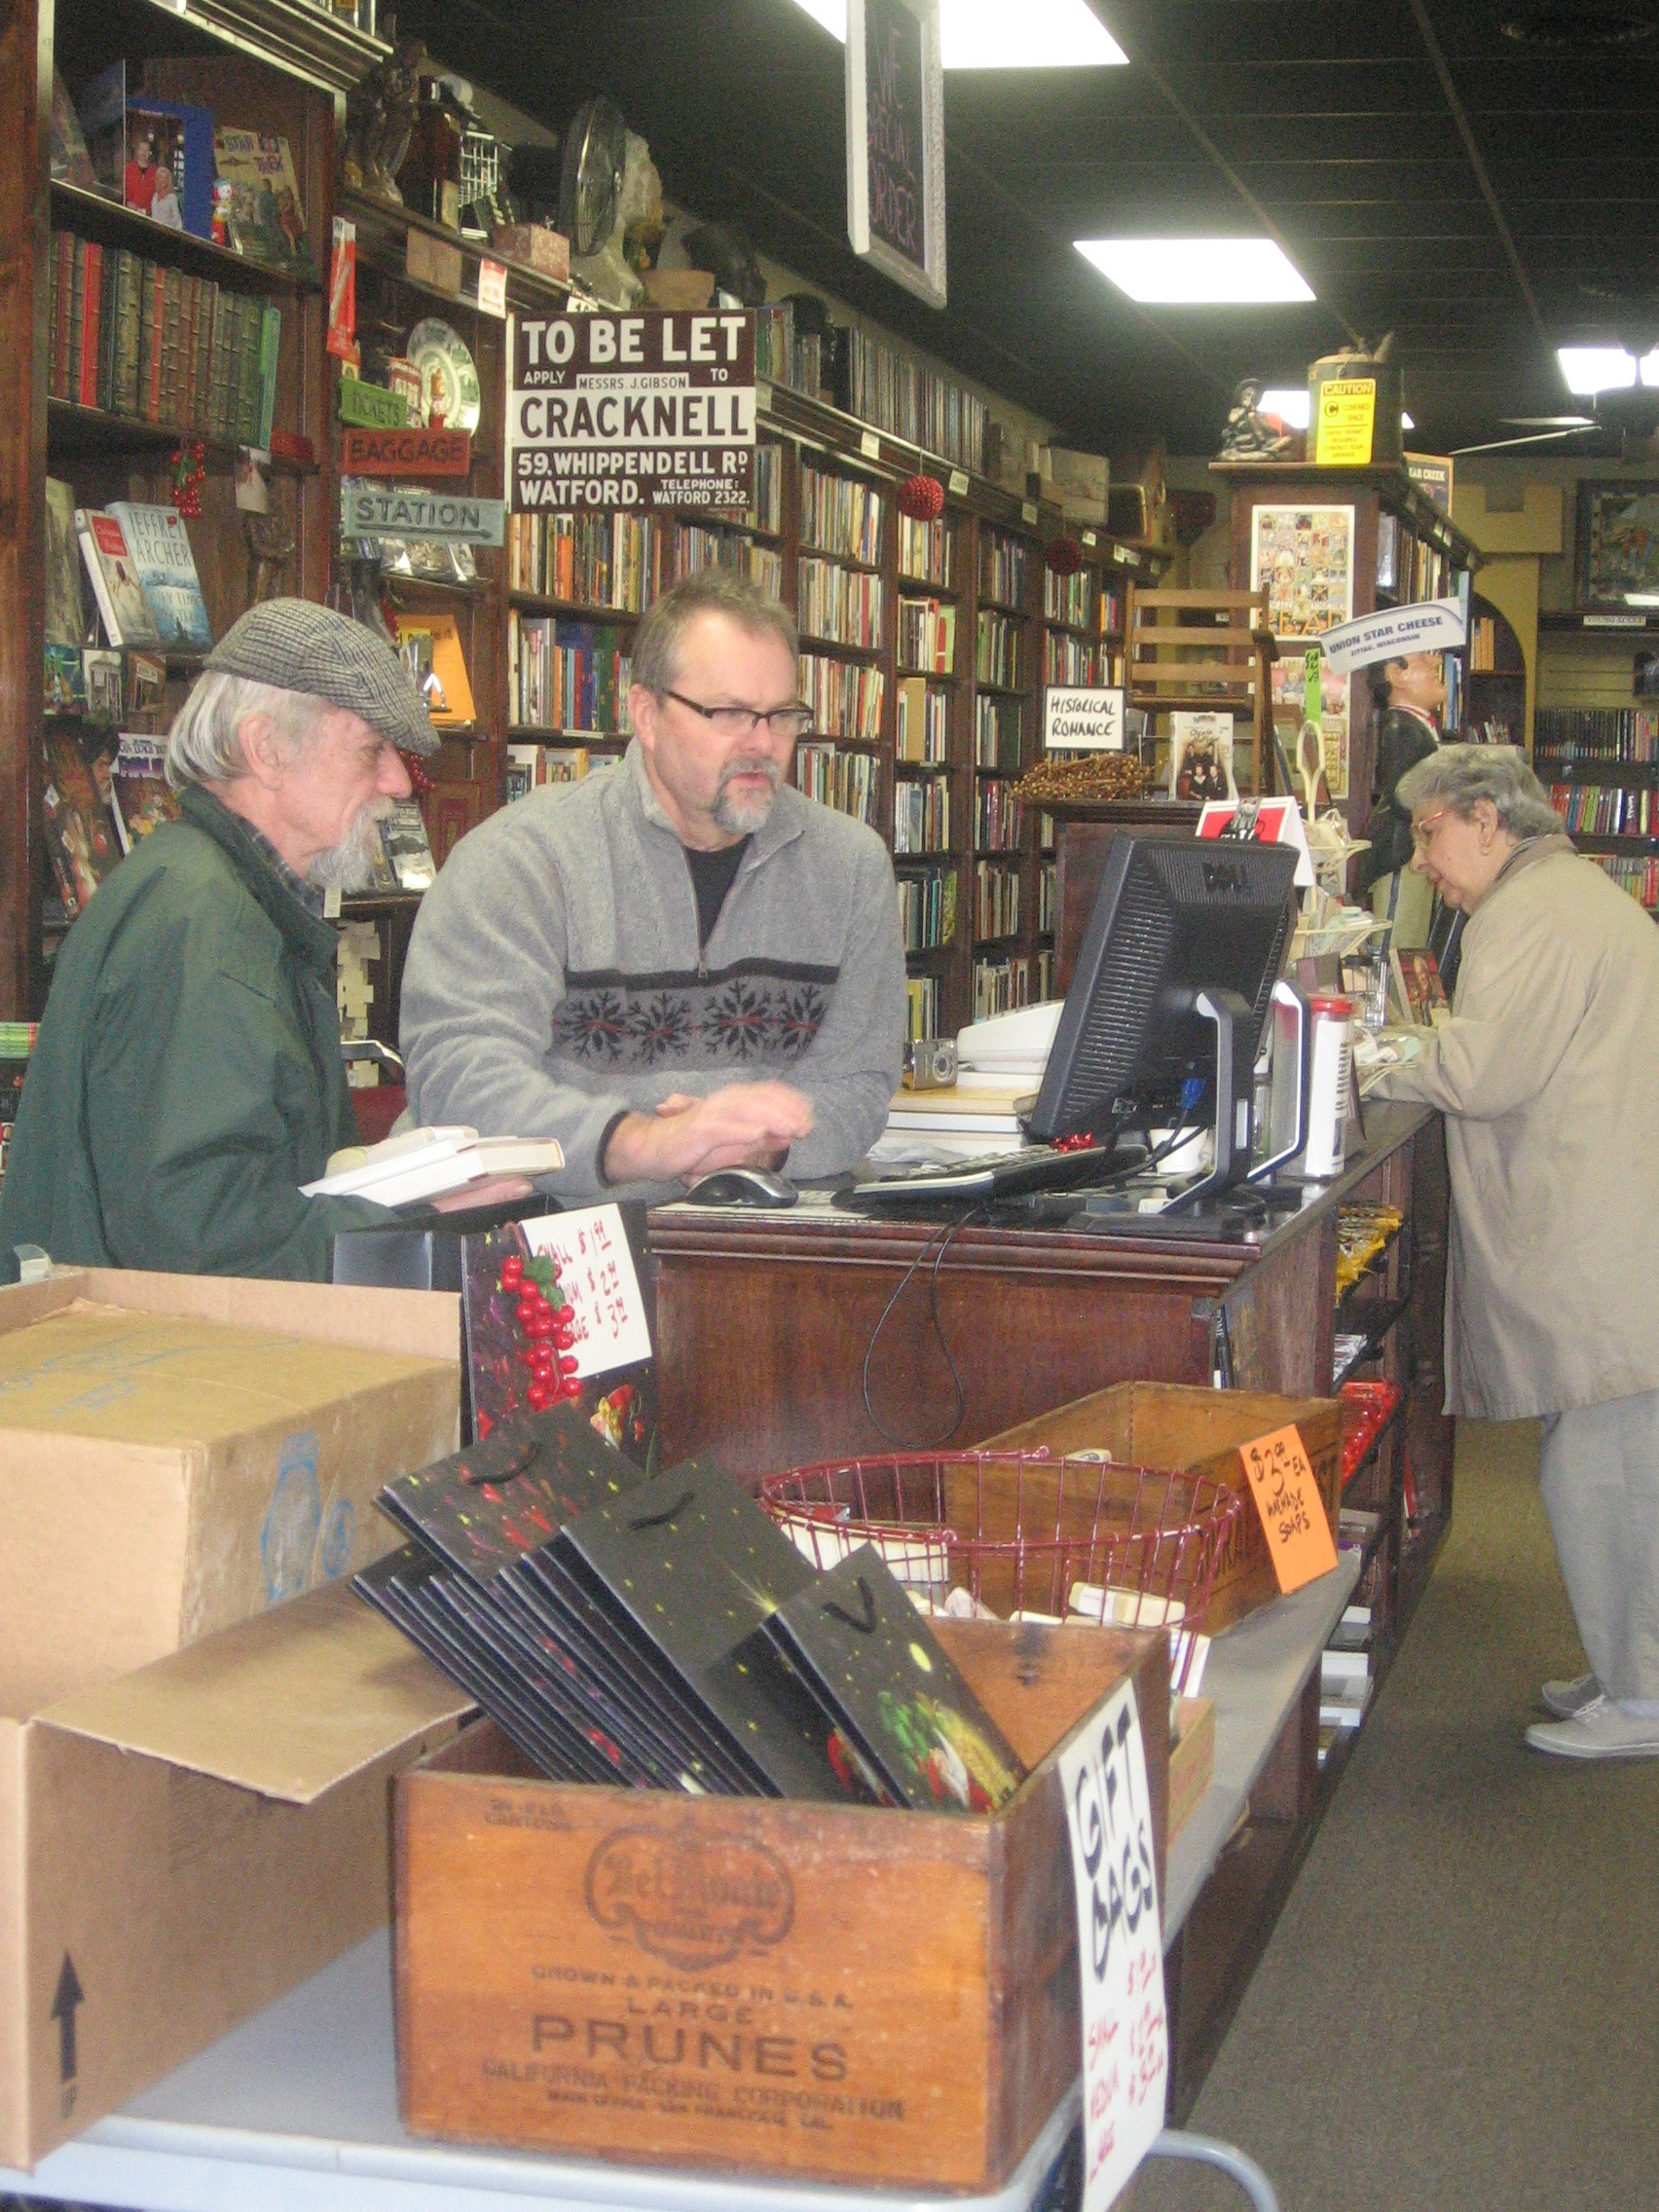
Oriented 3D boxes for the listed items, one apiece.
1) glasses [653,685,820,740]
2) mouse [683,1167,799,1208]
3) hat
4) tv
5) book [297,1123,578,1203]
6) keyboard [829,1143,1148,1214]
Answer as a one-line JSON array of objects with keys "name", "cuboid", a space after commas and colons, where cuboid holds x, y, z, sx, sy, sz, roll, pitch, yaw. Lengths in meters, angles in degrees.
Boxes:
[{"name": "glasses", "cuboid": [-0.105, -0.532, 2.618, 0.242, 0.055, 0.118, -3, 6, -36]}, {"name": "mouse", "cuboid": [-0.103, 0.100, 2.249, 0.126, 0.038, 0.150, 0, 5, -3]}, {"name": "hat", "cuboid": [-0.577, -0.501, 2.174, 0.246, 0.118, 0.172, 19, 12, -26]}, {"name": "tv", "cuboid": [0.404, -0.106, 2.298, 0.236, 0.419, 0.410, 5, 7, 40]}, {"name": "book", "cuboid": [-0.369, 0.054, 1.710, 0.175, 0.069, 0.243, -5, 7, -44]}, {"name": "keyboard", "cuboid": [0.222, 0.085, 2.294, 0.475, 0.058, 0.138, -5, 7, -43]}]
